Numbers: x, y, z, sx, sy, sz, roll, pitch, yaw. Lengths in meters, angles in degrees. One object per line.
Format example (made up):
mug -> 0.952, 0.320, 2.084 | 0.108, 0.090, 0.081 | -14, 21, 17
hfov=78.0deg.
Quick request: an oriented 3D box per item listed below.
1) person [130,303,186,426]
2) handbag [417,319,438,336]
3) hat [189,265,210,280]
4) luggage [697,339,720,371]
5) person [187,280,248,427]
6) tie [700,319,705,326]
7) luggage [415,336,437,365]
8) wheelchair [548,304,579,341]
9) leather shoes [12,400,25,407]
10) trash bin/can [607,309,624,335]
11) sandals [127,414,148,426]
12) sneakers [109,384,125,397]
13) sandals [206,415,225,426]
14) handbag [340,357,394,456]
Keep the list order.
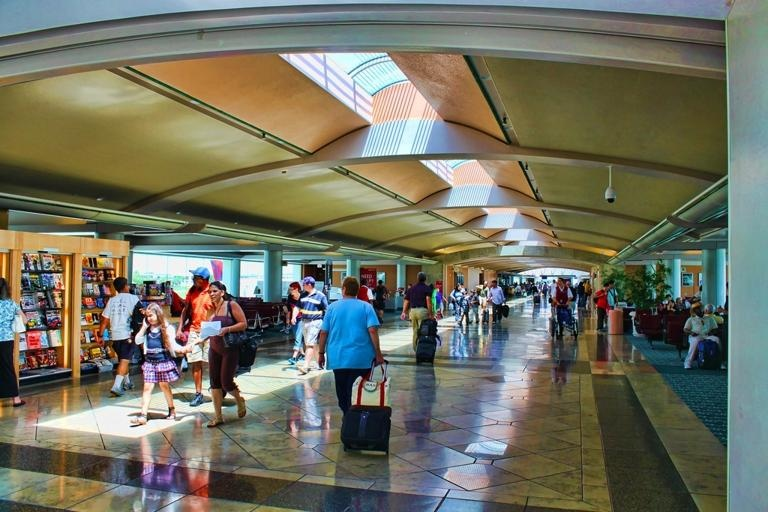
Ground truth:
person -> -3.763, 1.708, 7.715 | 0.804, 1.877, 0.751 | 0, -3, -24
handbag -> 1.187, 1.917, 12.612 | 0.421, 0.424, 0.517 | 5, -2, 12
hat -> -3.188, 0.290, 8.031 | 0.341, 0.141, 0.216 | 9, -2, -23
luggage -> 8.505, 2.510, 12.176 | 0.621, 0.776, 0.292 | -1, -3, 11
person -> -2.518, 1.516, 7.302 | 0.648, 2.228, 0.497 | -1, -3, -11
tie -> 8.330, 1.713, 12.194 | 0.144, 0.149, 0.044 | 0, -13, 24
luggage -> 1.121, 2.499, 12.800 | 0.666, 0.682, 0.832 | 5, 0, 12
wheelchair -> 7.059, 2.502, 18.863 | 1.062, 1.195, 1.641 | 0, 2, 3
leather shoes -> -6.634, 2.633, 8.466 | 0.082, 0.067, 0.209 | 2, 1, 29
trash bin/can -> 10.102, 2.830, 20.348 | 0.558, 1.059, 0.755 | -2, -3, 20
sandals -> -3.960, 2.558, 7.461 | 0.273, 0.160, 0.294 | 0, -3, -24
sneakers -> -5.361, 2.661, 9.367 | 0.184, 0.160, 0.408 | 6, -6, 8
sandals -> -2.658, 2.570, 7.395 | 0.330, 0.102, 0.134 | 2, -4, -10
handbag -> -0.260, 2.033, 6.256 | 0.660, 1.155, 0.452 | -1, -2, -5
